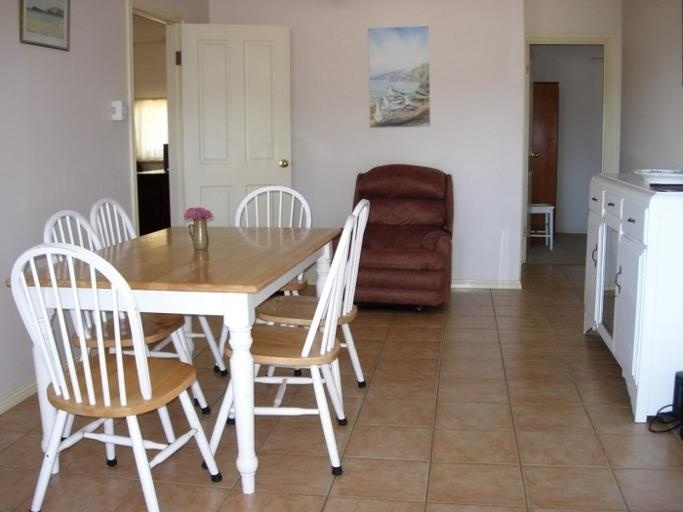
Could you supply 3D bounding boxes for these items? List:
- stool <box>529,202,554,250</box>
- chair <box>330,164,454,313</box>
[{"bbox_3d":[2.753,-0.435,7.513,0.323,0.555,0.714,4,13,20],"label":"stool"},{"bbox_3d":[0.572,-0.232,5.125,0.890,1.263,1.234,1,6,11],"label":"chair"}]
